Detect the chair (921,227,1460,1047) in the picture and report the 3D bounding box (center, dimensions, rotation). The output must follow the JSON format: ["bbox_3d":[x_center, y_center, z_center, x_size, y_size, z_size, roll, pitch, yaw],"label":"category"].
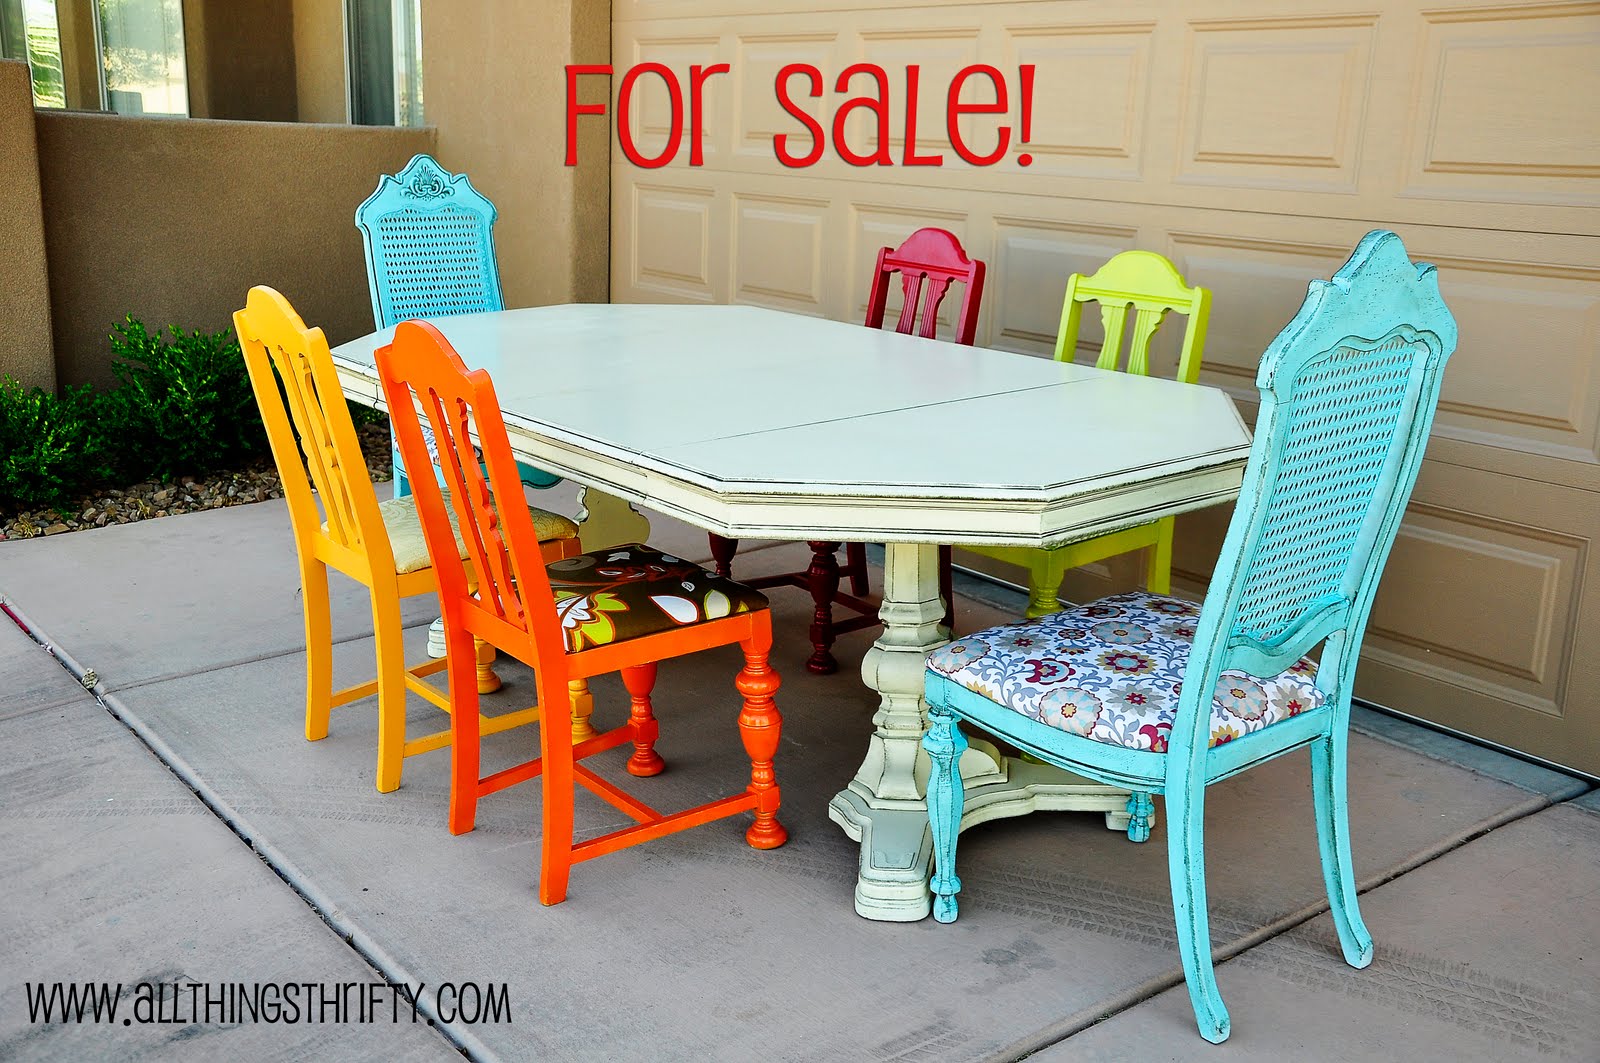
[{"bbox_3d":[0.761,0.179,2.409,0.927,1.359,0.879,5,14,38],"label":"chair"}]

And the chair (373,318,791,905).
[{"bbox_3d":[-0.474,0.161,2.668,0.766,1.090,0.641,-6,13,-33],"label":"chair"}]

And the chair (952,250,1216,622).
[{"bbox_3d":[0.692,-0.265,3.141,0.638,0.902,0.588,-8,21,-14],"label":"chair"}]
